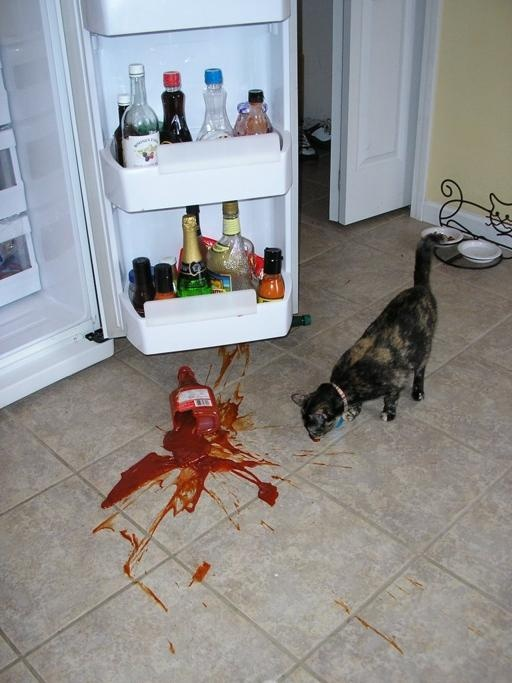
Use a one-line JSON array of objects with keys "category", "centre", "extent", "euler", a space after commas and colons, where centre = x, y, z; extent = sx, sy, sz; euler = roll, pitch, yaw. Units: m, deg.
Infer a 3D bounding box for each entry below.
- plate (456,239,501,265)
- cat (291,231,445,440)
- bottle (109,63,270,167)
[{"category": "plate", "centre": [0.898, -0.360, 2.258], "extent": [0.159, 0.063, 0.164], "euler": [-2, 25, 1]}, {"category": "cat", "centre": [0.295, -0.007, 1.406], "extent": [0.476, 0.465, 0.148], "euler": [-16, 29, -26]}, {"category": "bottle", "centre": [-0.160, -0.491, 1.206], "extent": [0.246, 0.188, 0.348], "euler": [20, 34, 39]}]
